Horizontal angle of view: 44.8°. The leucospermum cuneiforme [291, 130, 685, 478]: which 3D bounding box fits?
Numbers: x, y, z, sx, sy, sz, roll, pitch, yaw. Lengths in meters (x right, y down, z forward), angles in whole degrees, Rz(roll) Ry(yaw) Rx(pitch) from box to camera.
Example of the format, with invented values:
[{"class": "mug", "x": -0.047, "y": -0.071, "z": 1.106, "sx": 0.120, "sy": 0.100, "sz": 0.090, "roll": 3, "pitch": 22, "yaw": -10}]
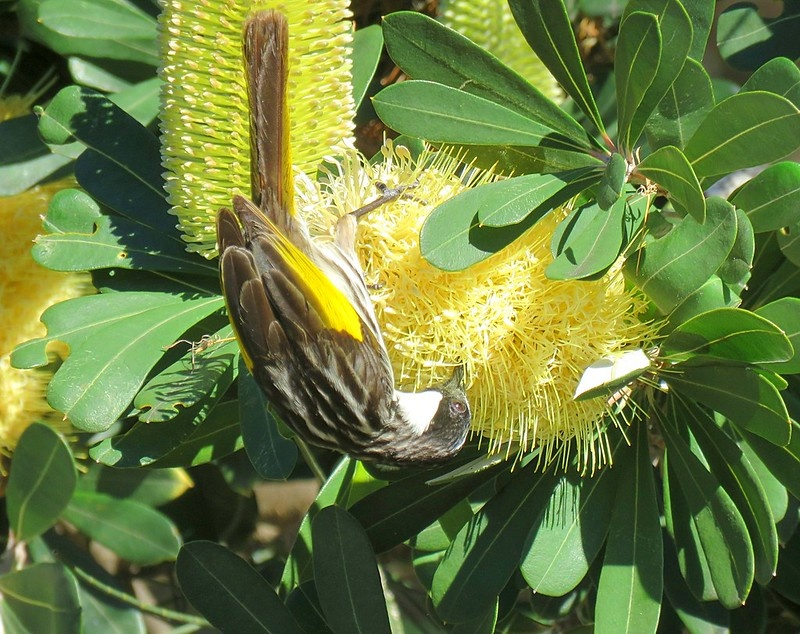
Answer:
[{"class": "leucospermum cuneiforme", "x": 0.129, "y": -0.029, "z": 1.667, "sx": 0.363, "sy": 0.345, "sz": 0.694, "roll": -36, "pitch": 72, "yaw": -18}]
